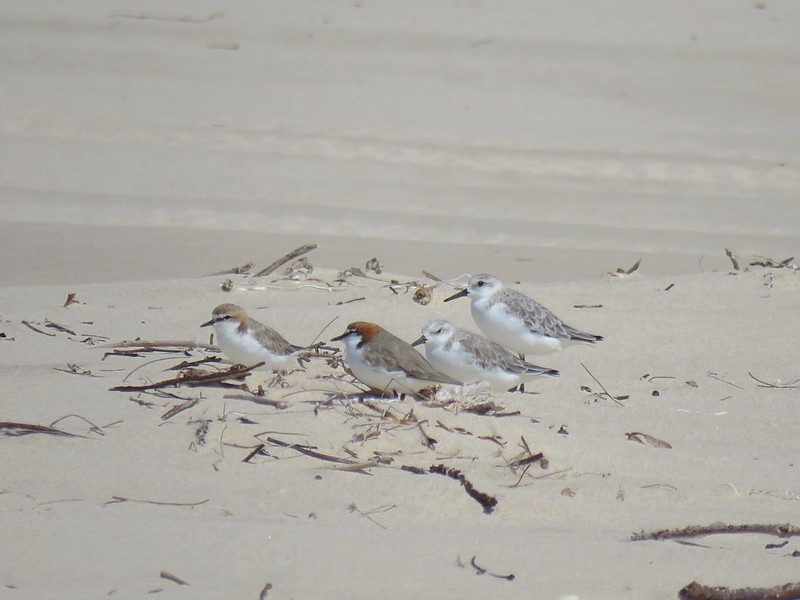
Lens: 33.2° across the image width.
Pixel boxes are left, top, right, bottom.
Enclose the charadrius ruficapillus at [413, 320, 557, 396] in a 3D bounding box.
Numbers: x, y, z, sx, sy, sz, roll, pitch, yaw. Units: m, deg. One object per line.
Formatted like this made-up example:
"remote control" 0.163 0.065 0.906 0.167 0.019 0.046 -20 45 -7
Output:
"charadrius ruficapillus" 0.864 0.678 14.050 1.778 0.718 0.556 5 -5 -26
